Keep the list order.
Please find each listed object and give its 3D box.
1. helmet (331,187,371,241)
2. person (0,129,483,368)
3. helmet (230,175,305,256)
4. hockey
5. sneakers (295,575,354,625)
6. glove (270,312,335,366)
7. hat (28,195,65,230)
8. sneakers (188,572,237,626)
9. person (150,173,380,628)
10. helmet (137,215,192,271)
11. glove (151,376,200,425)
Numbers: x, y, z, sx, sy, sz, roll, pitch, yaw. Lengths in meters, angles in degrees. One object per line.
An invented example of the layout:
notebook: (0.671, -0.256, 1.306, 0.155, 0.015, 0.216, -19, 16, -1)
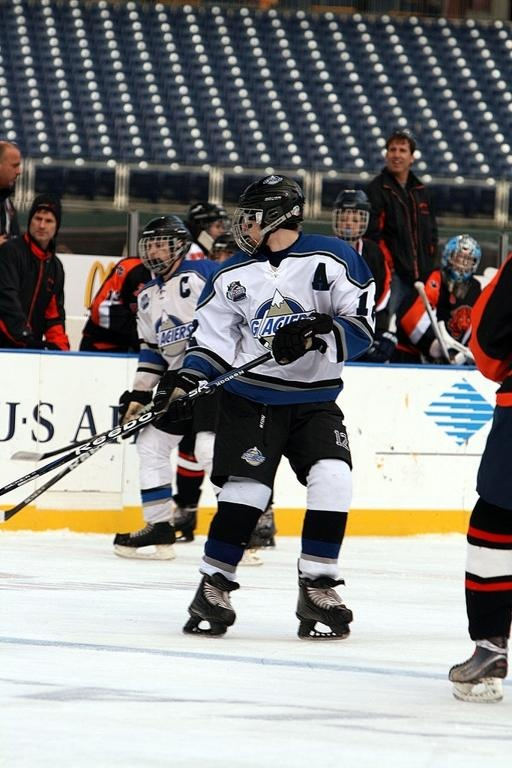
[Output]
helmet: (0.562, -0.996, 5.755, 0.272, 0.297, 0.332, 3, -3, -7)
person: (-0.224, -0.894, 5.945, 3.807, 1.291, 1.020, 0, -6, -11)
helmet: (0.064, -0.479, 2.873, 0.213, 0.188, 0.163, -9, -17, 20)
hockey: (-0.523, 0.104, 2.993, 0.430, 0.039, 0.031, 12, -35, -19)
sneakers: (0.202, 0.639, 2.789, 0.187, 0.146, 0.098, -2, -12, 25)
glove: (0.138, -0.136, 2.607, 0.128, 0.067, 0.168, 9, 35, 39)
hat: (-1.132, -0.960, 5.327, 0.169, 0.181, 0.202, 9, 0, -5)
sneakers: (-0.112, 0.625, 2.731, 0.172, 0.146, 0.062, 25, -21, -28)
person: (0.042, 0.048, 2.806, 0.564, 1.270, 0.683, 4, 16, 0)
helmet: (-0.410, -0.654, 4.520, 0.237, 0.245, 0.281, -10, -3, 29)
glove: (-0.259, 0.057, 3.136, 0.074, 0.175, 0.182, 29, 1, -25)
